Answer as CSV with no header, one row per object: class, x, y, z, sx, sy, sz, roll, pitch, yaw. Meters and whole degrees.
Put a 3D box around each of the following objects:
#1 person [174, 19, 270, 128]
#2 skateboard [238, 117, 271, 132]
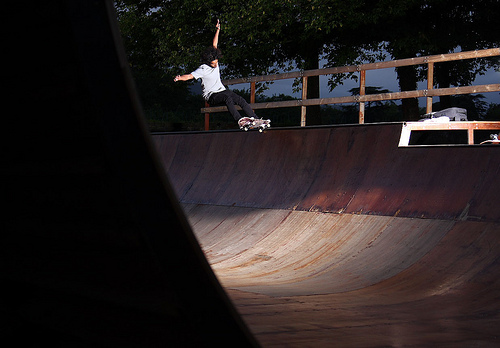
person,-0.356,-1.429,6.798,1.178,1.514,1.029,10,20,35
skateboard,0.086,-0.672,6.327,0.260,0.094,0.330,-1,3,-33
